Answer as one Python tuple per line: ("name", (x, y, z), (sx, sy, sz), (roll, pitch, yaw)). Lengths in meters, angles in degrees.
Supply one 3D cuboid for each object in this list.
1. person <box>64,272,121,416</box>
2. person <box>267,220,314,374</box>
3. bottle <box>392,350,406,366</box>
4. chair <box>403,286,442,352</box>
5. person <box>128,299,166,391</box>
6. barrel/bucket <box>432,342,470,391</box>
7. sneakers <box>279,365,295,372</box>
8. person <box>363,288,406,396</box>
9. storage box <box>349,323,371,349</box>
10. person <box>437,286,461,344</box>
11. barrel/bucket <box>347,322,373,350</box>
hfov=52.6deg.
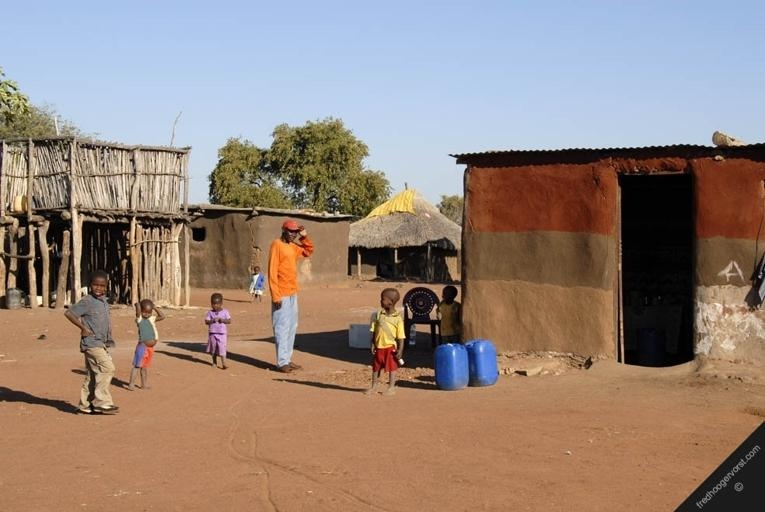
("person", (-3.790, 1.132, 10.021), (0.532, 1.866, 0.496), (-6, 11, -21))
("person", (-1.516, 0.679, 12.663), (0.705, 2.457, 1.030), (-2, 10, -5))
("bottle", (0.204, 1.431, 10.858), (0.114, 0.227, 0.320), (-1, 9, 2))
("chair", (0.676, 1.098, 13.600), (0.832, 1.063, 0.799), (4, -6, -42))
("person", (-3.650, 1.186, 11.763), (0.548, 1.363, 1.750), (-5, 10, -17))
("barrel/bucket", (1.002, 1.586, 11.087), (0.510, 0.660, 0.311), (-2, 10, -5))
("sneakers", (-1.566, 1.809, 12.414), (0.255, 0.110, 0.094), (-3, 3, 32))
("person", (0.014, 1.205, 11.093), (0.539, 1.567, 0.863), (-1, 10, 1))
("storage box", (-0.446, 1.541, 14.817), (0.471, 0.422, 0.446), (0, -2, -1))
("person", (1.125, 1.015, 13.178), (0.318, 0.965, 0.470), (-2, 10, -1))
("barrel/bucket", (-0.447, 1.537, 14.754), (0.481, 0.441, 0.465), (0, -2, 0))
